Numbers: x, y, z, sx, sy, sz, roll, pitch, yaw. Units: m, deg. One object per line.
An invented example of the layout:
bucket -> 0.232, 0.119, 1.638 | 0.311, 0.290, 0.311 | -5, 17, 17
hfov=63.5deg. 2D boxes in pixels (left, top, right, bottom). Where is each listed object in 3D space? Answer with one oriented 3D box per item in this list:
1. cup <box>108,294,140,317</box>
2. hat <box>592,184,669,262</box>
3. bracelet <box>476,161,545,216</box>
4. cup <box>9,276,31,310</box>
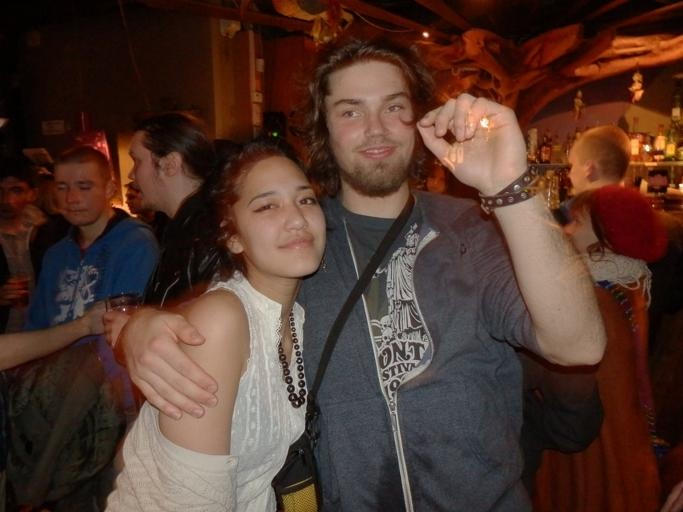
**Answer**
cup -> -1.301, 0.283, 3.311 | 0.132, 0.133, 0.127 | -22, -4, -2
hat -> 2.082, -0.220, 4.133 | 0.524, 0.574, 0.150 | -32, -7, -17
bracelet -> 0.800, -0.313, 2.649 | 0.211, 0.134, 0.228 | -38, 6, -37
cup -> -2.670, 0.281, 4.492 | 0.211, 0.290, 0.205 | -1, -5, 0
